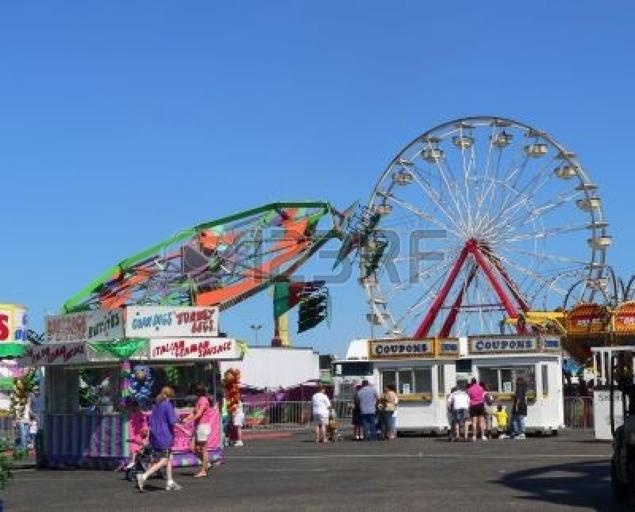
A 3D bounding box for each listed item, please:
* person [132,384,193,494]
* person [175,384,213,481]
[{"bbox_3d":[-3.327,3.732,26.689,1.151,1.975,0.774,6,-9,-40],"label":"person"},{"bbox_3d":[-2.758,3.840,28.410,0.735,1.998,0.639,0,-8,-1],"label":"person"}]
